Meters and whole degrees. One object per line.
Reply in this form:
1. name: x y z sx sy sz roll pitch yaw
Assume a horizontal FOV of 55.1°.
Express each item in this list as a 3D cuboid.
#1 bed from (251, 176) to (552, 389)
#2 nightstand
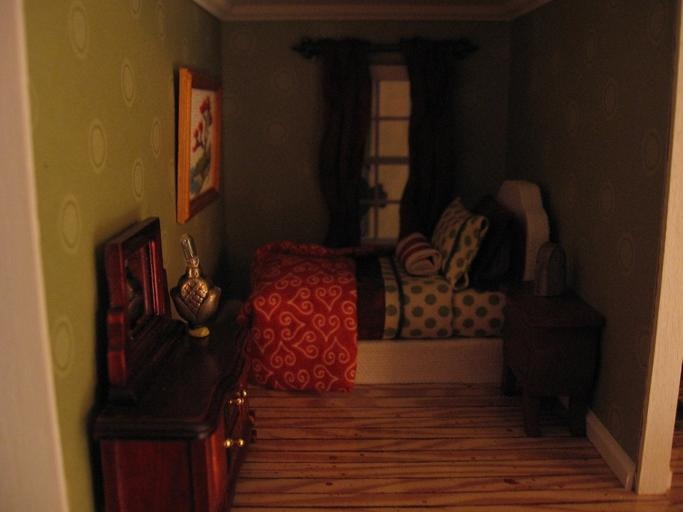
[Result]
1. bed: 0.467 0.116 4.474 1.602 1.169 1.222 -1 21 0
2. nightstand: 1.204 0.614 3.814 0.359 0.671 0.664 1 8 1
